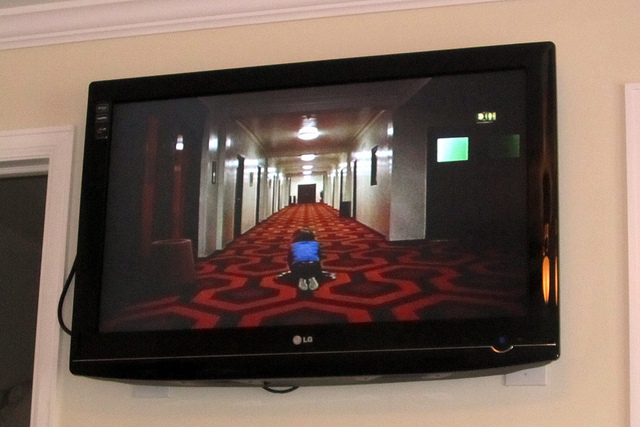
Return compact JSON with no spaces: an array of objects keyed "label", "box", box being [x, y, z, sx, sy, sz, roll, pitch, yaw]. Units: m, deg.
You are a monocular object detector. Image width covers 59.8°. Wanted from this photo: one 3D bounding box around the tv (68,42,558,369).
[{"label":"tv","box":[0.023,0.014,2.210,1.365,0.811,0.192,-1,-7,8]}]
